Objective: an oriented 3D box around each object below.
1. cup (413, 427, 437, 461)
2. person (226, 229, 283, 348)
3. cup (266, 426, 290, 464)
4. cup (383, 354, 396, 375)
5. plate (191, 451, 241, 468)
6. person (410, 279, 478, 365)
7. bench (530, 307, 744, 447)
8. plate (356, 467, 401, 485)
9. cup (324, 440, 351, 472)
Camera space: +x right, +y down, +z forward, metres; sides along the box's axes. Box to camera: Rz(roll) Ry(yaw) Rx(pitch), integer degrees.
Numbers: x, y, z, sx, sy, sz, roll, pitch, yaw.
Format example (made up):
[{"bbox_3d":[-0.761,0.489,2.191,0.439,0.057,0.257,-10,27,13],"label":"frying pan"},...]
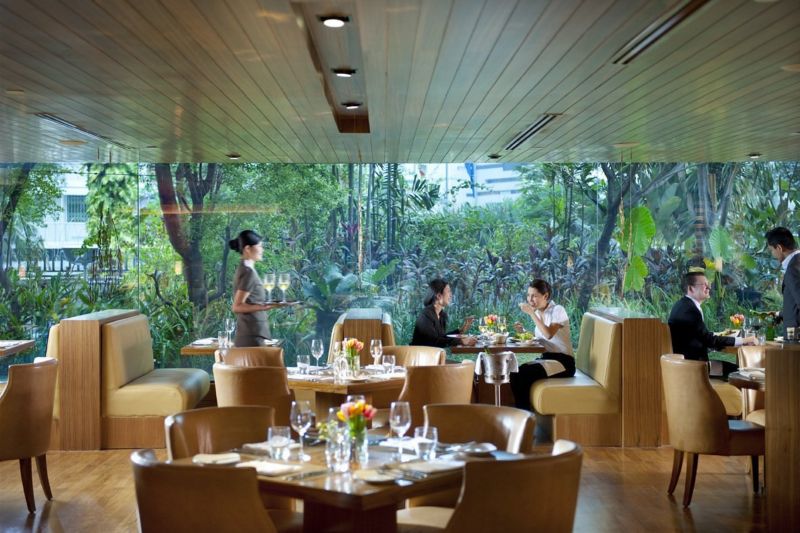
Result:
[{"bbox_3d":[0.145,0.966,3.091,0.154,0.161,0.148,2,-12,0],"label":"cup"},{"bbox_3d":[-1.673,0.615,6.732,0.694,2.084,0.639,-1,23,-16],"label":"person"},{"bbox_3d":[-0.672,0.981,3.170,0.139,0.142,0.131,-4,-10,-1],"label":"cup"},{"bbox_3d":[-0.089,0.916,5.319,0.144,0.203,0.134,-2,0,0],"label":"cup"},{"bbox_3d":[-0.973,1.024,3.021,0.244,0.048,0.268,-1,-1,-27],"label":"plate"},{"bbox_3d":[0.568,0.620,6.941,0.891,0.869,0.864,3,0,-18],"label":"person"},{"bbox_3d":[2.567,1.415,6.860,1.541,1.427,2.149,1,-5,4],"label":"bench"},{"bbox_3d":[-0.109,1.026,2.769,0.231,0.028,0.149,-1,-1,-4],"label":"plate"},{"bbox_3d":[-0.305,0.960,2.923,0.148,0.158,0.147,-1,-3,0],"label":"cup"}]
